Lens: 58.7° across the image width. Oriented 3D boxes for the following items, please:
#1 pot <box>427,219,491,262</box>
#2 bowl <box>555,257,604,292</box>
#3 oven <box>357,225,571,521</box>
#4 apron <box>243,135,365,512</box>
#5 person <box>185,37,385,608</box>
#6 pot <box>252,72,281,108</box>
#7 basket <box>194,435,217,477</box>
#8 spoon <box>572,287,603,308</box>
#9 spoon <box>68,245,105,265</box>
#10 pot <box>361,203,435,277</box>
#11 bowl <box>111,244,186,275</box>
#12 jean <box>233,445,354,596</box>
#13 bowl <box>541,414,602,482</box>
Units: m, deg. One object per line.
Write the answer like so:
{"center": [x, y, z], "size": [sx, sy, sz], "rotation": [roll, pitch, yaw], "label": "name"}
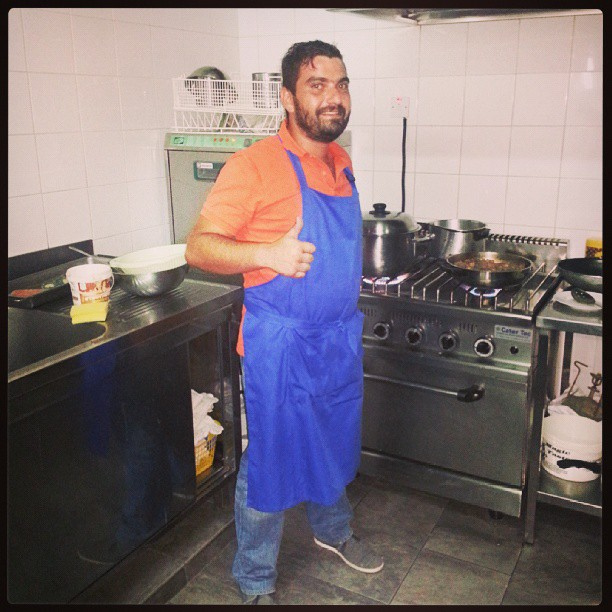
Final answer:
{"center": [0.506, -0.225, 1.804], "size": [0.170, 0.138, 0.150], "rotation": [8, 21, 27], "label": "pot"}
{"center": [0.758, -0.093, 1.517], "size": [0.124, 0.043, 0.132], "rotation": [0, 17, 0], "label": "bowl"}
{"center": [0.489, 0.193, 1.790], "size": [0.595, 0.792, 0.579], "rotation": [2, 21, 21], "label": "oven"}
{"center": [-0.002, 0.092, 1.280], "size": [0.281, 0.873, 0.219], "rotation": [-8, 20, -32], "label": "apron"}
{"center": [-0.039, 0.094, 1.260], "size": [0.292, 1.316, 0.350], "rotation": [7, 17, 28], "label": "person"}
{"center": [-0.147, -0.821, 2.083], "size": [0.132, 0.125, 0.051], "rotation": [8, 18, 28], "label": "pot"}
{"center": [-0.303, 0.447, 1.614], "size": [0.054, 0.082, 0.106], "rotation": [5, 15, 26], "label": "basket"}
{"center": [0.752, -0.019, 1.450], "size": [0.064, 0.022, 0.011], "rotation": [30, 59, 24], "label": "spoon"}
{"center": [-0.662, -0.151, 1.624], "size": [0.121, 0.050, 0.079], "rotation": [14, 22, 40], "label": "spoon"}
{"center": [0.260, -0.217, 1.592], "size": [0.240, 0.188, 0.179], "rotation": [5, 18, 20], "label": "pot"}
{"center": [-0.431, -0.124, 1.483], "size": [0.118, 0.070, 0.185], "rotation": [12, 21, 25], "label": "bowl"}
{"center": [-0.012, 0.561, 1.451], "size": [0.277, 0.413, 0.311], "rotation": [10, 19, 12], "label": "jean"}
{"center": [0.803, 0.401, 1.627], "size": [0.206, 0.180, 0.213], "rotation": [-10, 15, 3], "label": "bowl"}
